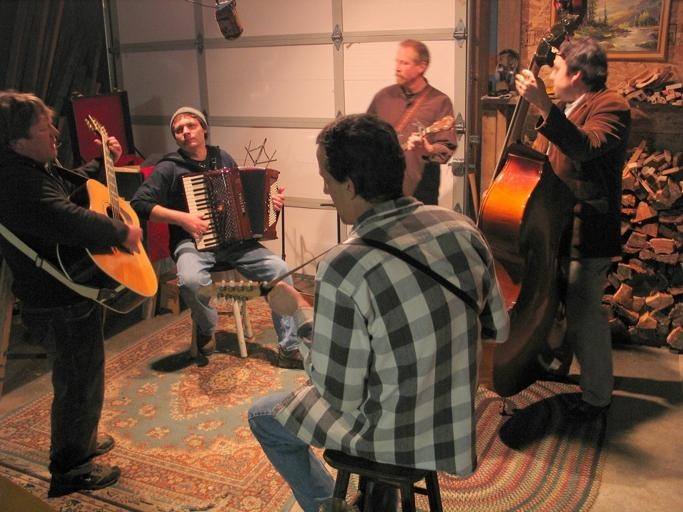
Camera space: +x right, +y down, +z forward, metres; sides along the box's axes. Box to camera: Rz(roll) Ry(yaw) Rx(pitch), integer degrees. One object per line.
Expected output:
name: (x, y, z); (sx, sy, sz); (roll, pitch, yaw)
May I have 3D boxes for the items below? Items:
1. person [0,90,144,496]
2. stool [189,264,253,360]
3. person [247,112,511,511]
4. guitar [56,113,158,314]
person: (-1.523, 0.200, 3.182); (0.664, 2.189, 0.620); (-6, 14, -21)
stool: (-1.003, 0.369, 4.550); (0.434, 0.733, 0.434); (-5, 1, -12)
person: (0.124, 0.341, 2.145); (0.924, 1.721, 0.431); (3, 13, 15)
guitar: (-1.422, -0.332, 3.433); (0.176, 1.294, 0.546); (-23, -27, 7)
